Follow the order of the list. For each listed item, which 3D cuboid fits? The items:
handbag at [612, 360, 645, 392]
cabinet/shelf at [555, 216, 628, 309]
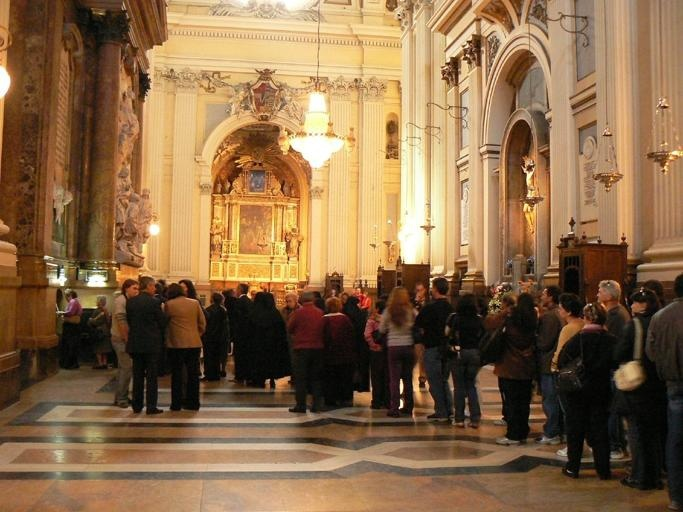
[{"bbox_3d":[2.768,1.145,6.599,0.256,0.286,0.141,-22,-20,38],"label":"handbag"},{"bbox_3d":[4.505,0.204,11.870,1.094,1.981,1.246,3,-5,-9],"label":"cabinet/shelf"}]
